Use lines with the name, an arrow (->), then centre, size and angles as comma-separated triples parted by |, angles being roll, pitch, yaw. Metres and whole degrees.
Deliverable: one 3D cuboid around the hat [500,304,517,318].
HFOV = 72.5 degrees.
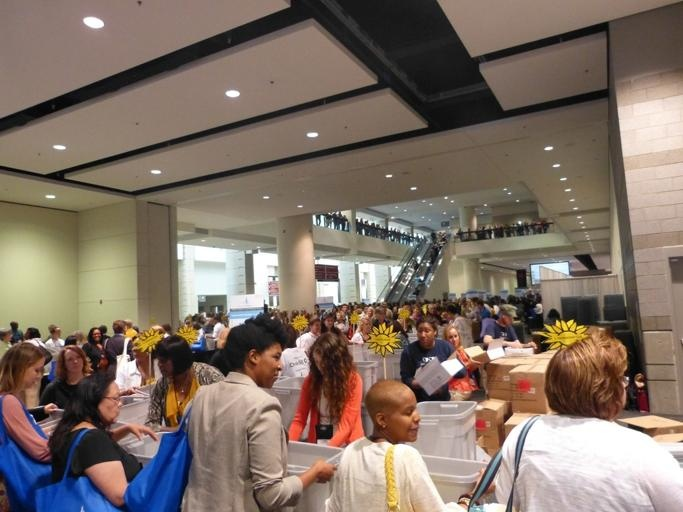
hat -> 2.459, 0.829, 7.001 | 0.297, 0.157, 0.232 | 6, 4, 33
